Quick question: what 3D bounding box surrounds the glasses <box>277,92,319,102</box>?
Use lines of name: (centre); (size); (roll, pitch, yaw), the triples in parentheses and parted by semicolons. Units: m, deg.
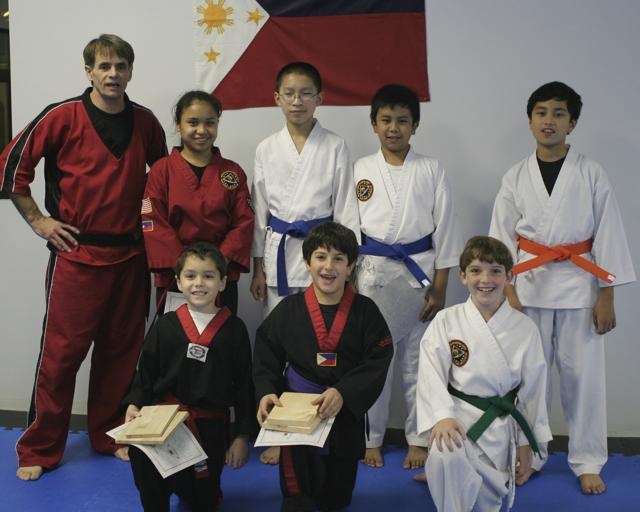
glasses: (-0.134, -0.978, 4.461); (0.223, 0.061, 0.079); (1, 6, -9)

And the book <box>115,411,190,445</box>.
book: (-0.911, 0.893, 3.808); (0.214, 0.057, 0.239); (-2, 29, 32)
